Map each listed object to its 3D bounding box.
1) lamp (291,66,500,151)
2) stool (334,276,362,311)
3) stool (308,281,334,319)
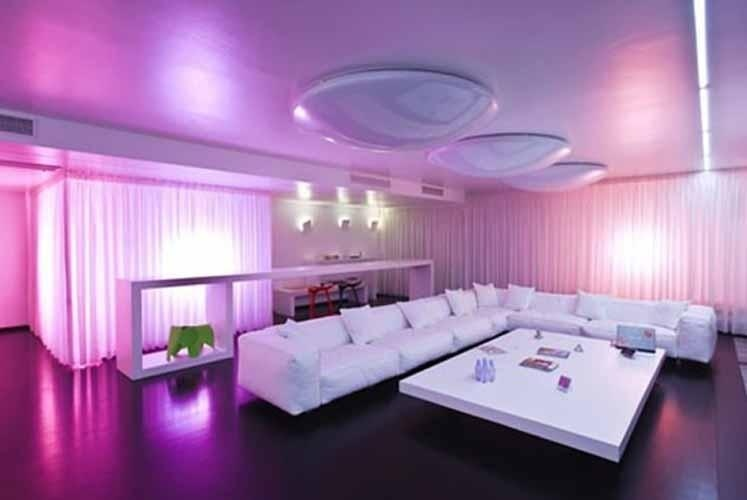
[{"bbox_3d":[0.308,-1.662,4.849,2.058,0.503,2.158,2,20,-13],"label":"lamp"},{"bbox_3d":[-0.572,0.991,10.788,0.648,0.690,0.612,-1,4,6],"label":"stool"},{"bbox_3d":[-1.122,1.050,9.787,0.602,0.686,0.626,-2,13,28],"label":"stool"}]
